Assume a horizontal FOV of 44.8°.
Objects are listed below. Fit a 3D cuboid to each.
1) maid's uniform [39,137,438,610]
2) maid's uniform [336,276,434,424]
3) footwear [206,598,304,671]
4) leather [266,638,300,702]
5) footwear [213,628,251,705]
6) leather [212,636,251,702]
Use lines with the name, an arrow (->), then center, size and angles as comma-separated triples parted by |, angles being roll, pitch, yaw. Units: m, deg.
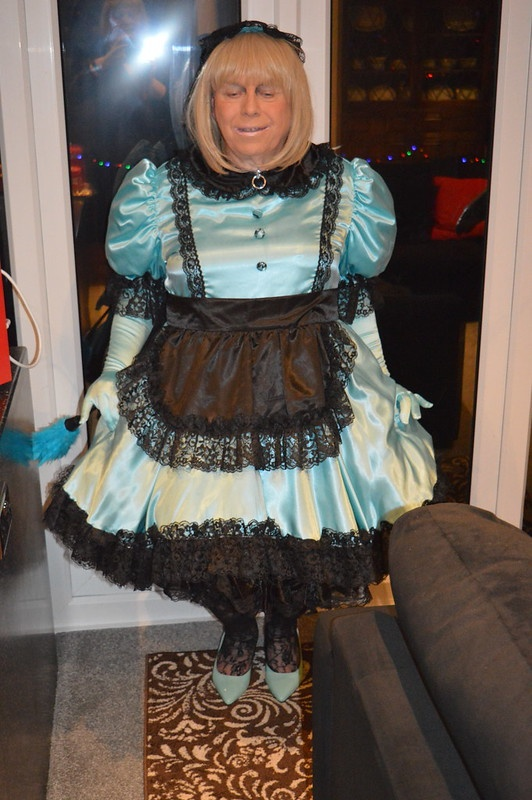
maid's uniform -> -0.052, -0.051, 1.292 | 0.808, 0.888, 0.436 | 0, 15, 6
maid's uniform -> 0.246, -0.103, 1.443 | 0.113, 0.307, 0.069 | -26, -4, -10
footwear -> -0.030, 0.575, 1.562 | 0.223, 0.204, 0.184 | -2, 8, -5
leather -> 0.050, 0.684, 1.617 | 0.089, 0.048, 0.241 | 3, 4, 3
footwear -> -0.085, 0.674, 1.606 | 0.097, 0.033, 0.200 | 10, 15, 2
leather -> -0.082, 0.666, 1.605 | 0.099, 0.036, 0.203 | 2, 26, 2
